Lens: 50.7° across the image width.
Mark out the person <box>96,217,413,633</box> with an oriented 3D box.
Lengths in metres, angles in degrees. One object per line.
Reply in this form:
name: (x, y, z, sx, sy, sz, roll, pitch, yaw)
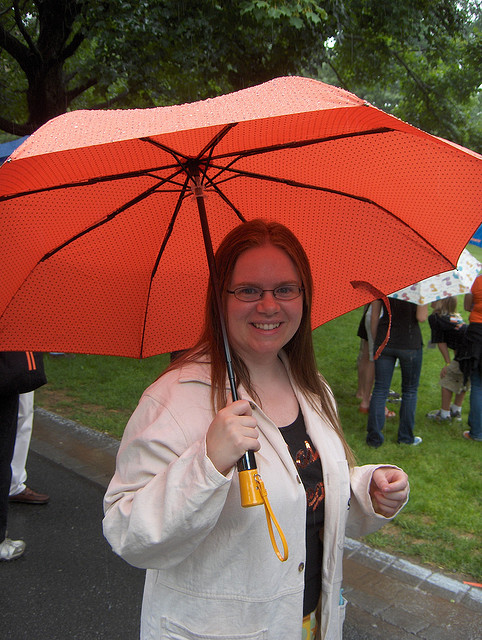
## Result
person: (0.089, 0.322, 1.453, 0.682, 1.271, 0.923, 4, 8, 17)
